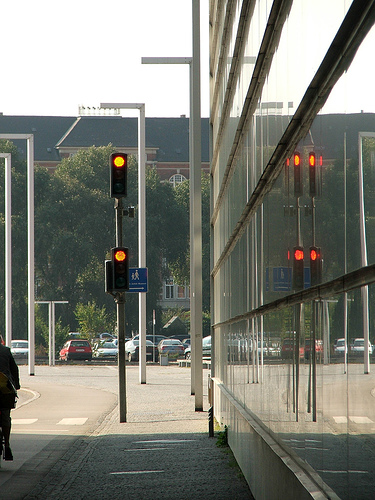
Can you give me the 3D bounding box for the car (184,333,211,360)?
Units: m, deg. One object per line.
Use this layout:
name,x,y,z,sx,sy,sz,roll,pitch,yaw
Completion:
car,0.820,5.171,44.644,2.017,1.628,1.421,0,-6,16

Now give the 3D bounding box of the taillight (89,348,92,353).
taillight,-5.358,5.548,47.589,0.102,0.276,0.126,0,13,2

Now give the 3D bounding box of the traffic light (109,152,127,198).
traffic light,-1.035,-1.159,12.958,0.258,0.693,0.466,3,-5,-7

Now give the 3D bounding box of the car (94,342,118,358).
car,-4.605,5.716,48.587,1.059,1.072,2.116,1,-10,-11

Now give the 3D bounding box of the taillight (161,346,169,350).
taillight,-1.198,5.396,47.134,0.402,0.220,0.175,5,-5,-10

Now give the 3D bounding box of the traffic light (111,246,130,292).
traffic light,-0.983,0.430,12.774,0.239,0.854,0.458,-6,-41,3

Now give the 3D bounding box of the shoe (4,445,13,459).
shoe,-1.874,2.121,8.981,0.092,0.145,0.311,4,-6,-12
